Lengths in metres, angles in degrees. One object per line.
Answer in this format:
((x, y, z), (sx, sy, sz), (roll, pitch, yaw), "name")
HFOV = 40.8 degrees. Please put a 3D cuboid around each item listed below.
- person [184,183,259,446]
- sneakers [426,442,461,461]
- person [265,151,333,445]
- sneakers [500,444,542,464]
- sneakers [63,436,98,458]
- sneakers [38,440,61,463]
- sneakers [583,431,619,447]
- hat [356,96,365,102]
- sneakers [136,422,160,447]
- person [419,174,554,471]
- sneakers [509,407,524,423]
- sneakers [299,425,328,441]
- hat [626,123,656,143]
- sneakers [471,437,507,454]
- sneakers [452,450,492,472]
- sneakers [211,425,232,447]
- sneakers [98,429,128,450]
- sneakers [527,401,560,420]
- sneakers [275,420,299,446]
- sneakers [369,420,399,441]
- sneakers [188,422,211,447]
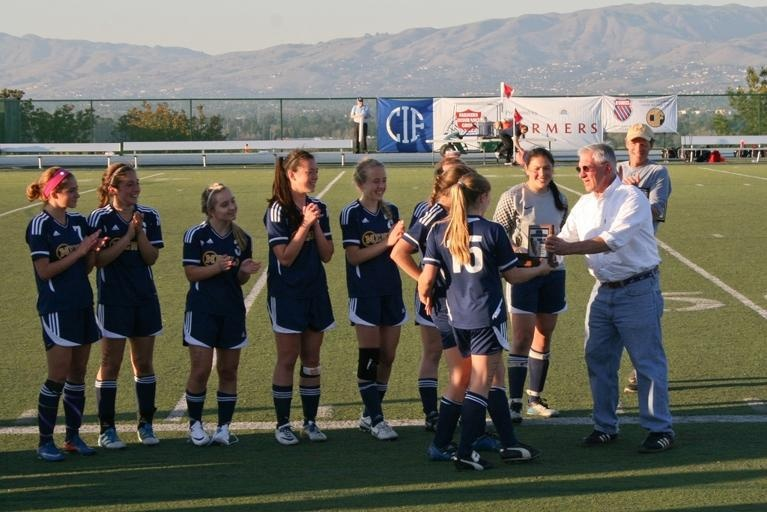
((-1.615, 0.566, 10.170), (0.784, 2.442, 0.910), (-3, 16, -5), "person")
((0.551, 1.851, 9.733), (0.329, 0.127, 0.114), (-1, 7, -14), "sneakers")
((-0.825, 0.403, 10.189), (0.670, 2.799, 0.919), (-3, 16, -4), "person")
((1.248, 1.829, 9.577), (0.421, 0.172, 0.147), (-3, 7, 0), "sneakers")
((-2.960, 1.840, 9.934), (0.383, 0.156, 0.140), (1, 2, 28), "sneakers")
((-3.183, 1.851, 9.769), (0.142, 0.113, 0.271), (-3, 2, -45), "sneakers")
((2.093, 1.775, 9.991), (0.384, 0.139, 0.128), (3, -9, -16), "sneakers")
((-0.828, -5.243, 34.726), (0.267, 0.148, 0.349), (2, 10, 6), "hat")
((-2.339, 1.751, 10.155), (0.151, 0.170, 0.239), (-10, 17, -29), "sneakers")
((0.831, 0.608, 9.564), (0.945, 2.615, 0.900), (-3, 16, -4), "person")
((1.363, 1.641, 10.604), (0.119, 0.055, 0.183), (2, 19, 7), "sneakers")
((-0.692, 1.755, 10.237), (0.249, 0.095, 0.127), (1, 2, 44), "sneakers")
((2.850, -1.358, 11.453), (0.277, 0.216, 0.340), (2, 15, 13), "hat")
((1.011, 1.840, 10.001), (0.342, 0.125, 0.129), (-2, 5, 10), "sneakers")
((0.818, 1.899, 9.554), (0.343, 0.140, 0.164), (1, 3, -18), "sneakers")
((-1.592, 1.760, 10.068), (0.113, 0.134, 0.287), (3, 5, -2), "sneakers")
((-2.654, 1.793, 10.083), (0.344, 0.138, 0.142), (-2, -3, 39), "sneakers")
((1.671, 1.611, 10.808), (0.351, 0.145, 0.140), (-1, 0, 20), "sneakers")
((-0.986, 1.769, 10.217), (0.134, 0.119, 0.321), (-1, -3, -32), "sneakers")
((-0.002, 1.746, 10.247), (0.147, 0.117, 0.286), (-1, -4, -41), "sneakers")
((-1.824, 1.736, 10.119), (0.152, 0.204, 0.276), (-15, 20, -41), "sneakers")
